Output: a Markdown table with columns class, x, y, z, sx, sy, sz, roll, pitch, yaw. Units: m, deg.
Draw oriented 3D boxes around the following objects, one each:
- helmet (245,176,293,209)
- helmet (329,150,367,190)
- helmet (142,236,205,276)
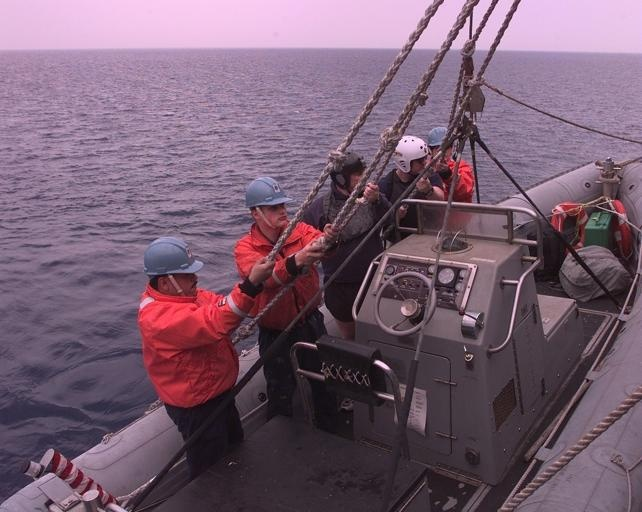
| class | x | y | z | sx | sy | sz | roll | pitch | yaw |
| --- | --- | --- | --- | --- | --- | --- | --- | --- | --- |
| helmet | -0.373 | -0.452 | 4.069 | 0.280 | 0.141 | 0.212 | -4 | 22 | 13 |
| helmet | 0.218 | -0.677 | 4.538 | 0.403 | 0.349 | 0.293 | -1 | 14 | -6 |
| helmet | -0.923 | -0.008 | 3.614 | 0.328 | 0.182 | 0.236 | -9 | 22 | -8 |
